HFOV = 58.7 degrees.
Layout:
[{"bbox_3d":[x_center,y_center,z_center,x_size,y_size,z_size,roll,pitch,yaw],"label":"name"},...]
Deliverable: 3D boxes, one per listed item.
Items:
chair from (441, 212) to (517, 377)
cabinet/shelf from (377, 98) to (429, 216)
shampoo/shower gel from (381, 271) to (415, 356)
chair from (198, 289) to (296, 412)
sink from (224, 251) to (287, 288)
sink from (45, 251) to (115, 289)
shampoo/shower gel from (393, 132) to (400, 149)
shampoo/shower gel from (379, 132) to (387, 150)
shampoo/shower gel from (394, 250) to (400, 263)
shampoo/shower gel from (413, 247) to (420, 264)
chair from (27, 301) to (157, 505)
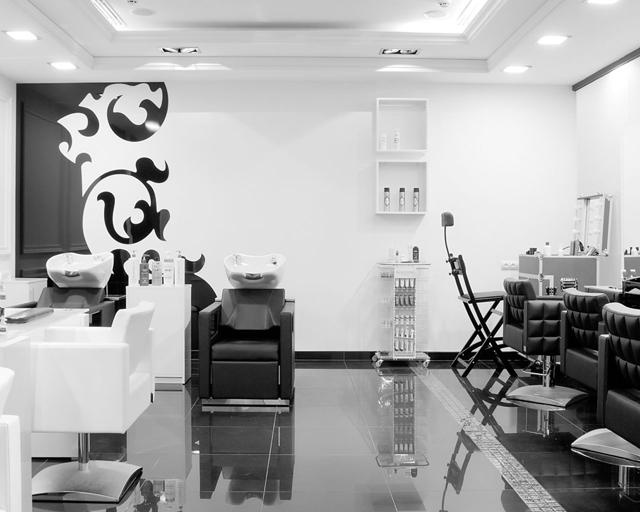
[{"bbox_3d":[1.756,0.393,6.405,0.809,1.799,1.285,0,0,17],"label":"chair"},{"bbox_3d":[0.925,-1.109,6.670,0.559,1.301,0.305,0,-4,1],"label":"cabinet/shelf"},{"bbox_3d":[0.954,0.667,6.421,0.270,1.017,0.136,0,0,9],"label":"shampoo/shower gel"},{"bbox_3d":[-0.725,0.926,5.578,0.742,1.135,0.969,0,-10,1],"label":"chair"},{"bbox_3d":[-0.670,0.163,5.708,0.565,0.342,0.707,-1,0,-17],"label":"sink"},{"bbox_3d":[-2.405,0.159,5.727,0.627,0.354,0.537,-1,0,-7],"label":"sink"},{"bbox_3d":[0.899,-1.355,6.751,0.071,0.221,0.148,0,0,12],"label":"shampoo/shower gel"},{"bbox_3d":[0.739,-1.338,6.711,0.085,0.234,0.151,0,0,10],"label":"shampoo/shower gel"},{"bbox_3d":[0.903,0.005,6.689,0.051,0.146,0.151,0,0,8],"label":"shampoo/shower gel"},{"bbox_3d":[1.107,-0.011,6.607,0.074,0.186,0.307,0,0,9],"label":"shampoo/shower gel"},{"bbox_3d":[-1.542,0.958,4.211,0.957,1.657,1.126,1,-3,-3],"label":"chair"}]
